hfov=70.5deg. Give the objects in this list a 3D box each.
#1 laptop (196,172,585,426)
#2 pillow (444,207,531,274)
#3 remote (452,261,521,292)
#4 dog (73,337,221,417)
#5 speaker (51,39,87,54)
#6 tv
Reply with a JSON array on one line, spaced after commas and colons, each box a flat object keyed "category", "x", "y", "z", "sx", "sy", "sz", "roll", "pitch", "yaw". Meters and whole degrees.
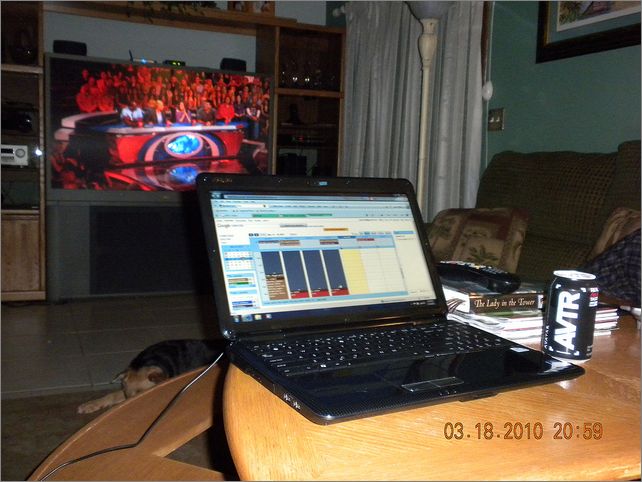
[{"category": "laptop", "x": 0.066, "y": 0.104, "z": 0.793, "sx": 0.537, "sy": 0.249, "sz": 0.478, "roll": 0, "pitch": 6, "yaw": -29}, {"category": "pillow", "x": 0.851, "y": -0.012, "z": 2.285, "sx": 0.398, "sy": 0.328, "sz": 0.104, "roll": 12, "pitch": -13, "yaw": 43}, {"category": "remote", "x": 0.367, "y": 0.075, "z": 1.021, "sx": 0.062, "sy": 0.028, "sz": 0.117, "roll": 0, "pitch": 12, "yaw": -35}, {"category": "dog", "x": -0.723, "y": 0.490, "z": 1.815, "sx": 0.212, "sy": 0.122, "sz": 0.372, "roll": -36, "pitch": -1, "yaw": 20}, {"category": "speaker", "x": -1.989, "y": -1.524, "z": 3.585, "sx": 0.218, "sy": 0.120, "sz": 0.155, "roll": 8, "pitch": 12, "yaw": 31}, {"category": "tv", "x": -1.331, "y": -0.871, "z": 3.471, "sx": 2.147, "sy": 0.924, "sz": 0.071, "roll": 0, "pitch": 5, "yaw": -19}]
